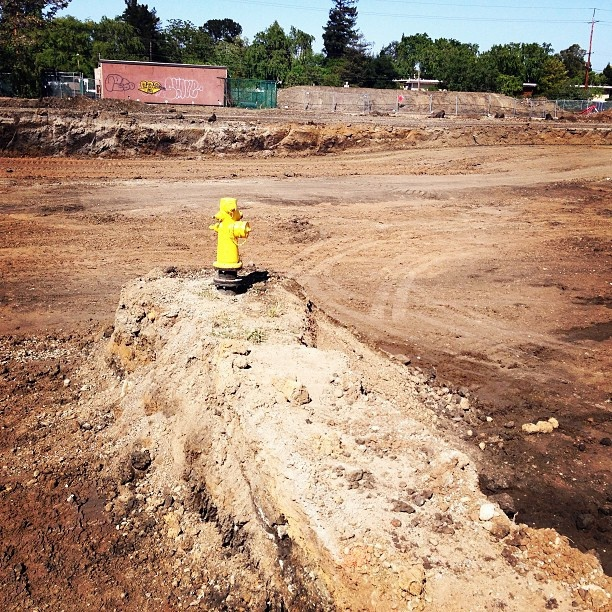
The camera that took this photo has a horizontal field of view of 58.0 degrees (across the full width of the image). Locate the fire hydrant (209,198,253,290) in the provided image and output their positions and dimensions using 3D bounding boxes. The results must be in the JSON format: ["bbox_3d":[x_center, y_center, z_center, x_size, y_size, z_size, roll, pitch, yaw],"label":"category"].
[{"bbox_3d":[-0.983,-0.786,7.192,0.472,1.273,0.721,-1,18,-9],"label":"fire hydrant"}]
